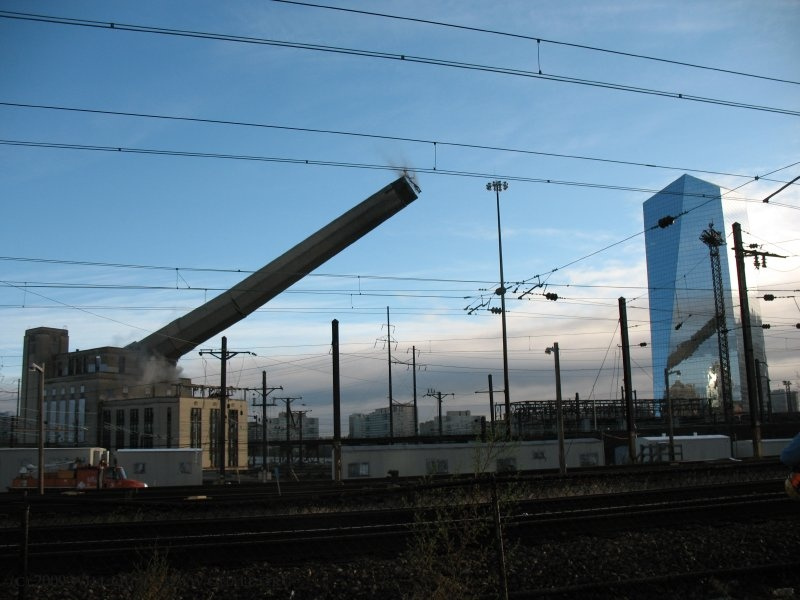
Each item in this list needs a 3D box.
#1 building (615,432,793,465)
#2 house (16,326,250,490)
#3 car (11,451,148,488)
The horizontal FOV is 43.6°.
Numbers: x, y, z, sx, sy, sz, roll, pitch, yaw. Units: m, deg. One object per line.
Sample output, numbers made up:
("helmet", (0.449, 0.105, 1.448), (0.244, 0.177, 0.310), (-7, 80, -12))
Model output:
("building", (18.142, 9.021, 61.485), (9.673, 1.588, 9.705), (-4, -10, 8))
("house", (-23.047, 9.722, 83.535), (21.022, 15.578, 10.833), (-3, -6, 24))
("car", (-18.868, 10.267, 58.655), (7.415, 2.847, 3.009), (1, -34, 0))
